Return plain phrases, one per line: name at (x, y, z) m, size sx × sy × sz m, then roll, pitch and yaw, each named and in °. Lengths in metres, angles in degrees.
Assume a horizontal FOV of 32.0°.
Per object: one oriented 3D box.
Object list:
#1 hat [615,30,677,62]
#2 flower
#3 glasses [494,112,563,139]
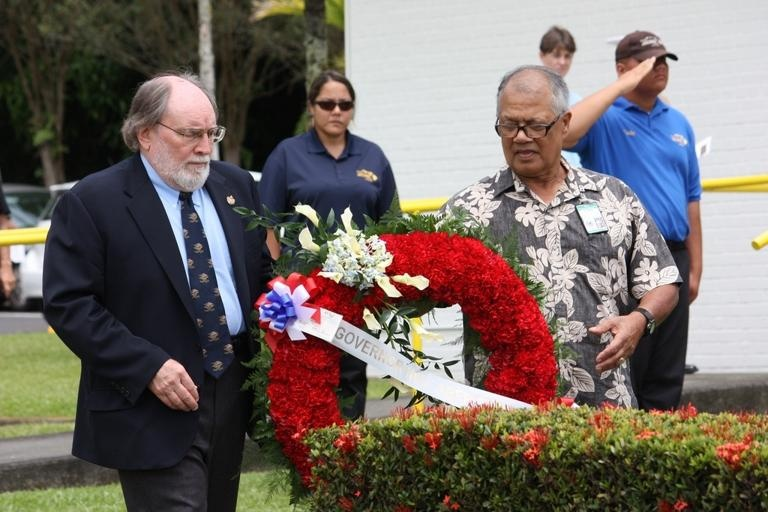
hat at (2.049, -1.672, 10.485) m, size 0.269 × 0.207 × 0.398 m, roll -5°, pitch 3°, yaw -42°
flower at (0.075, 0.638, 9.134) m, size 2.035 × 2.038 × 0.811 m, roll -4°, pitch 8°, yaw -7°
glasses at (1.011, -0.922, 9.320) m, size 0.472 × 0.165 × 0.136 m, roll -2°, pitch 8°, yaw 5°
